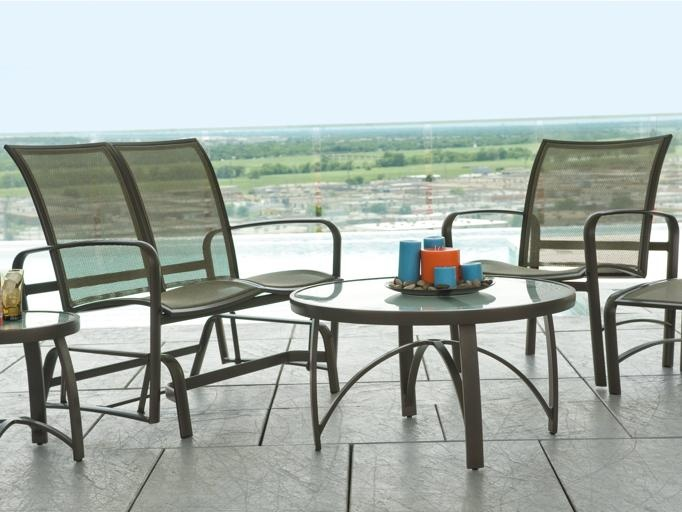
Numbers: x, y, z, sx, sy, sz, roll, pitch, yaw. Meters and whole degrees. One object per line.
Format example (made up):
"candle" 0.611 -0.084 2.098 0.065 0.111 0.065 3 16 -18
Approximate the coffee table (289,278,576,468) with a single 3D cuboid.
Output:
"coffee table" 0.342 0.392 2.545 0.988 0.586 0.550 -1 16 13
